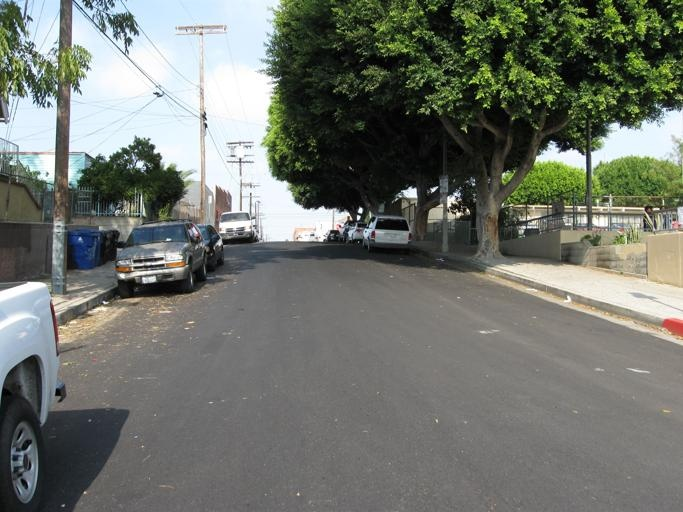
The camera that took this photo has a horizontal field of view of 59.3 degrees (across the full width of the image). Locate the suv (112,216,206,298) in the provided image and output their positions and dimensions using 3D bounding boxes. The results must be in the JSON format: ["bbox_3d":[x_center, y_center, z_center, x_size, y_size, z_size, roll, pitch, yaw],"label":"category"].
[{"bbox_3d":[-4.756,0.061,15.912,1.844,1.801,2.494,0,7,-6],"label":"suv"}]

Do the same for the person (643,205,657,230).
[{"bbox_3d":[11.702,-1.432,22.844,0.436,0.921,3.088,4,8,27],"label":"person"}]

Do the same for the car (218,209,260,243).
[{"bbox_3d":[-7.574,-2.079,43.797,2.419,2.441,3.148,-1,7,-14],"label":"car"}]
